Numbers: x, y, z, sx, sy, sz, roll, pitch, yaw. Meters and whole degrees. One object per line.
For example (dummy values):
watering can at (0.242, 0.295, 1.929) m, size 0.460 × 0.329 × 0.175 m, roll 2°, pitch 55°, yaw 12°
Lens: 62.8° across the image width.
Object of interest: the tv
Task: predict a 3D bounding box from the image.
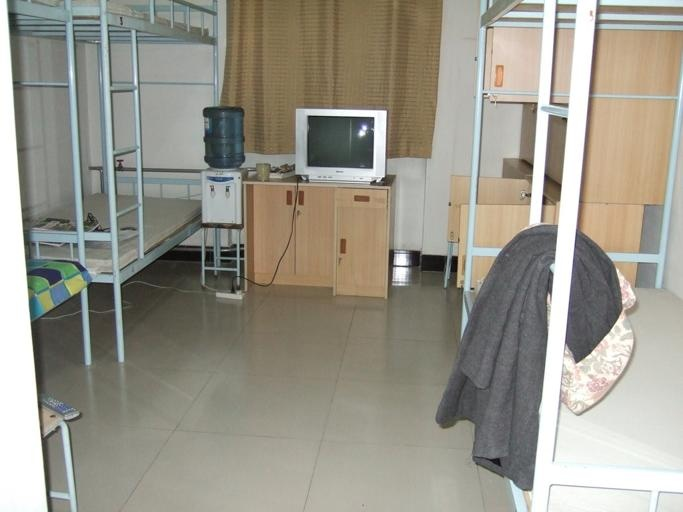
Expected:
tv at (0.041, -0.987, 5.647) m, size 1.082 × 0.830 × 0.639 m, roll 3°, pitch 14°, yaw 8°

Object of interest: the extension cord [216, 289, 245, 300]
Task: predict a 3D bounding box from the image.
extension cord at (-1.069, 0.363, 5.395) m, size 0.284 × 0.075 × 0.148 m, roll 3°, pitch 14°, yaw 12°

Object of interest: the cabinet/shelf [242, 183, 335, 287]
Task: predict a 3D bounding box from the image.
cabinet/shelf at (-0.504, -0.253, 5.525) m, size 0.885 × 0.934 × 0.351 m, roll 1°, pitch 15°, yaw 6°

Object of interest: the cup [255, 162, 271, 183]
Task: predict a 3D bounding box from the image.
cup at (-0.751, -0.816, 5.471) m, size 0.131 × 0.165 × 0.151 m, roll -2°, pitch 14°, yaw -5°
